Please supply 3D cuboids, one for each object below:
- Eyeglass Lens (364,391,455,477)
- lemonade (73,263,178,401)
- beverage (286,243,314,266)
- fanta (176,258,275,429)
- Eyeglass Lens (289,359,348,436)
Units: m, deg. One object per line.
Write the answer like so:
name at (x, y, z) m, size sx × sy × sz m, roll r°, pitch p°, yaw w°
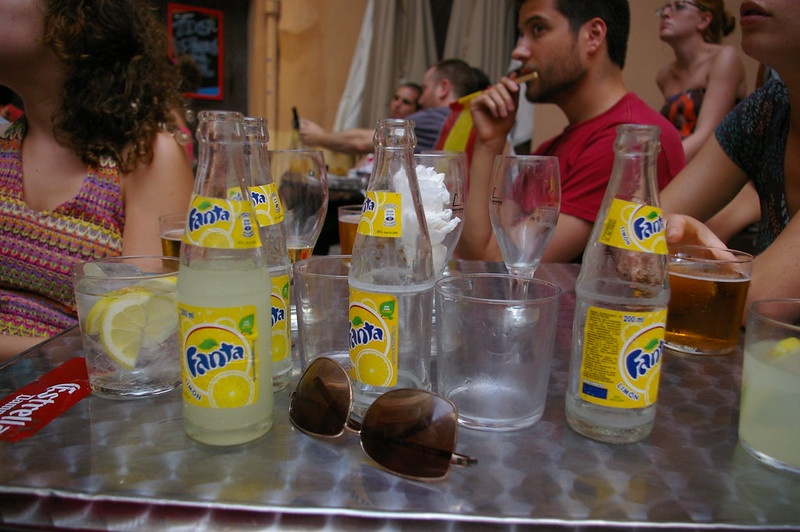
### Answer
Eyeglass Lens at (0.017, 0.263, 1.031) m, size 0.122 × 0.129 × 0.052 m, roll 8°, pitch 53°, yaw 13°
lemonade at (-0.481, 0.111, 1.192) m, size 0.194 × 0.228 × 0.204 m, roll 2°, pitch 7°, yaw 8°
beverage at (-0.208, -0.020, 1.376) m, size 0.039 × 0.029 × 0.036 m, roll -1°, pitch 8°, yaw -10°
fanta at (-0.268, 0.133, 1.018) m, size 0.125 × 0.287 × 0.123 m, roll 1°, pitch 7°, yaw -6°
Eyeglass Lens at (-0.136, 0.211, 1.105) m, size 0.072 × 0.128 × 0.085 m, roll 1°, pitch 9°, yaw 3°
